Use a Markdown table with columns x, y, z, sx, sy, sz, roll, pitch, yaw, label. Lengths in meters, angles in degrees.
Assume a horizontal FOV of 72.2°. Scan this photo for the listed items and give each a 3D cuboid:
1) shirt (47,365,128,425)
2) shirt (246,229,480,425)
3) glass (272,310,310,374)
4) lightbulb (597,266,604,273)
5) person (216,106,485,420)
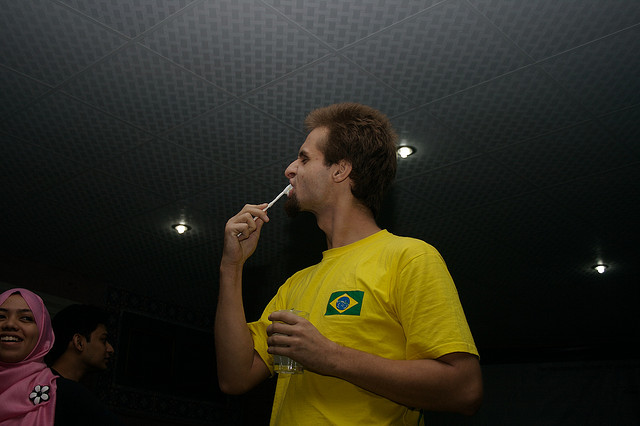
| x | y | z | sx | sy | sz | roll | pitch | yaw | label |
| --- | --- | --- | --- | --- | --- | --- | --- | --- | --- |
| -1.199 | 0.961 | 2.241 | 0.430 | 0.223 | 0.139 | -4 | -22 | 15 | shirt |
| 0.099 | 0.344 | 1.402 | 0.748 | 0.644 | 0.384 | -6 | -22 | 19 | shirt |
| -0.087 | 0.394 | 1.341 | 0.106 | 0.189 | 0.283 | 2 | -20 | -1 | glass |
| 3.384 | 0.694 | 5.302 | 0.073 | 0.035 | 0.100 | 26 | -25 | -20 | lightbulb |
| 0.037 | 0.079 | 1.512 | 0.880 | 1.177 | 0.437 | -5 | -22 | 18 | person |
